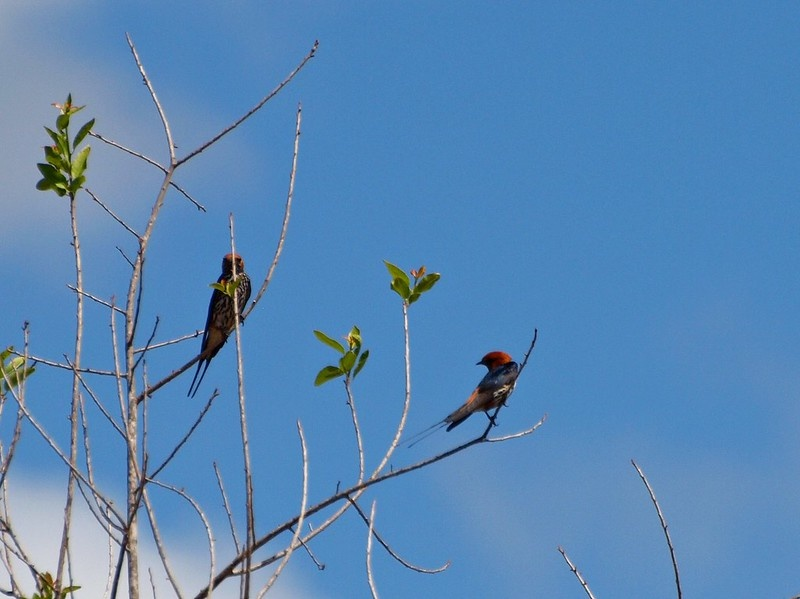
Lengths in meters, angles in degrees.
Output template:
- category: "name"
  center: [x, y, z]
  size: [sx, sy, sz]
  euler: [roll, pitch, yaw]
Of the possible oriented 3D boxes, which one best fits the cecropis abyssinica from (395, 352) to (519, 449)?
- category: "cecropis abyssinica"
  center: [0.487, 0.580, 8.840]
  size: [0.935, 0.489, 0.249]
  euler: [-7, -16, -28]
